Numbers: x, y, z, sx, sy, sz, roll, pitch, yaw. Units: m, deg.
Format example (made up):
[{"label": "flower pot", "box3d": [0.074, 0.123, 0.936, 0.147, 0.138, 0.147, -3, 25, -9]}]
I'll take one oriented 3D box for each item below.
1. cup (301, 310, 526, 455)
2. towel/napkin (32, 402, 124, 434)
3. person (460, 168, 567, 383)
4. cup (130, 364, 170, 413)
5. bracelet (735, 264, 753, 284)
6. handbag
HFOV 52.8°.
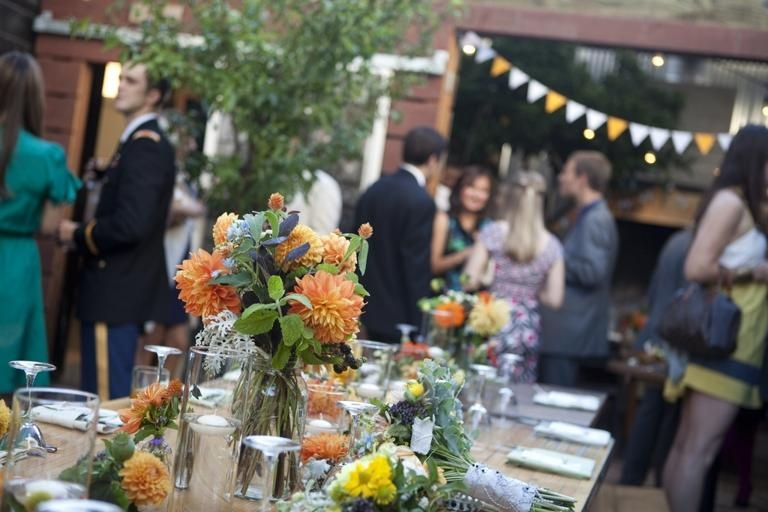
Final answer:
[{"label": "cup", "box3d": [0.102, 0.525, 3.003, 0.434, 0.322, 0.446, 8, -21, 3]}, {"label": "towel/napkin", "box3d": [-1.012, 0.534, 2.546, 0.226, 0.076, 0.203, 8, -8, -7]}, {"label": "person", "box3d": [1.006, 0.395, 6.174, 0.686, 2.360, 0.662, 3, 30, 3]}, {"label": "cup", "box3d": [-1.011, 0.562, 3.302, 0.160, 0.214, 0.189, 2, -10, -7]}, {"label": "bracelet", "box3d": [1.918, 0.091, 4.137, 0.063, 0.054, 0.088, -10, 0, -11]}, {"label": "handbag", "box3d": [1.687, 0.292, 4.262, 0.495, 0.450, 0.194, 4, -12, -21]}]
